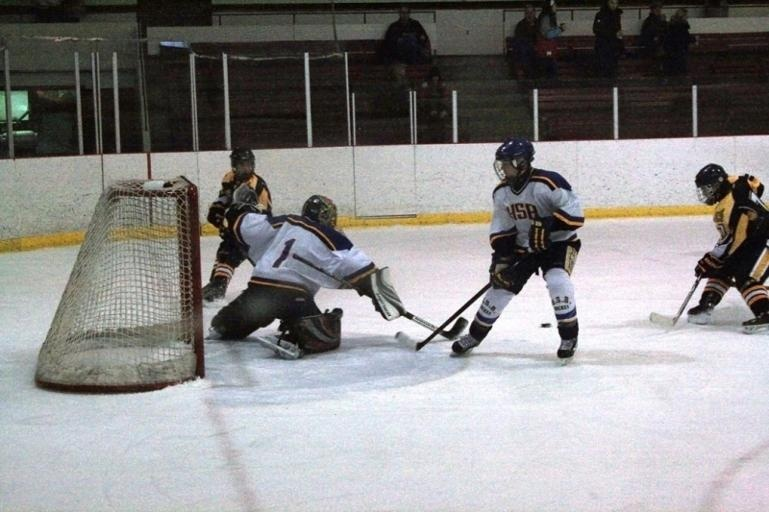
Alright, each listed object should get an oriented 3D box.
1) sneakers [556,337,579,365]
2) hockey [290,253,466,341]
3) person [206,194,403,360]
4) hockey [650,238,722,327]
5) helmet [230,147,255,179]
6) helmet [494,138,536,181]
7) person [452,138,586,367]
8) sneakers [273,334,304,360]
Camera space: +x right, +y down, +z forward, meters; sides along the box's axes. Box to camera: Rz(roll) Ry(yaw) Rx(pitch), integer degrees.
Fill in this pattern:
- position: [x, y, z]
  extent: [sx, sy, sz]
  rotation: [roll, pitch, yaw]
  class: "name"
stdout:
- position: [1.126, 0.565, 5.205]
  extent: [0.107, 0.131, 0.272]
  rotation: [3, 14, 19]
  class: "sneakers"
- position: [-0.054, 0.316, 6.059]
  extent: [0.988, 0.209, 0.163]
  rotation: [27, -32, 1]
  class: "hockey"
- position: [-0.579, 0.148, 5.454]
  extent: [1.260, 0.921, 0.544]
  rotation: [4, 17, 24]
  class: "person"
- position: [2.458, 0.235, 6.880]
  extent: [0.215, 0.795, 0.183]
  rotation: [35, -4, -3]
  class: "hockey"
- position: [-1.179, -0.780, 7.109]
  extent: [0.271, 0.226, 0.244]
  rotation: [0, 5, -12]
  class: "helmet"
- position: [0.817, -0.592, 5.292]
  extent: [0.232, 0.260, 0.230]
  rotation: [-1, 15, 5]
  class: "helmet"
- position: [0.846, -0.047, 5.315]
  extent: [0.779, 1.341, 0.644]
  rotation: [1, 16, 11]
  class: "person"
- position: [-0.621, 0.576, 5.328]
  extent: [0.223, 0.085, 0.114]
  rotation: [8, 43, -40]
  class: "sneakers"
